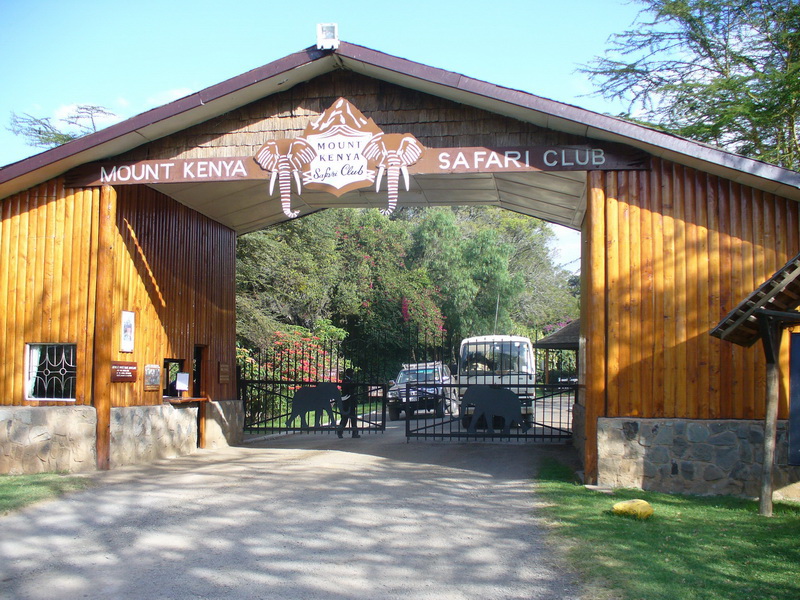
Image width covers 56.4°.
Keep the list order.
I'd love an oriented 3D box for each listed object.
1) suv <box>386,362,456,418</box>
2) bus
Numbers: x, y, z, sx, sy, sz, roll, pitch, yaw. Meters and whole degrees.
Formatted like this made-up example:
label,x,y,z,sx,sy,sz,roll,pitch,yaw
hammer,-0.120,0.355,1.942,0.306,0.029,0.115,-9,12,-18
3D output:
label,x,y,z,sx,sy,sz,roll,pitch,yaw
suv,0.564,2.947,25.309,1.681,1.649,3.483,-3,-13,8
bus,3.173,3.273,25.450,2.509,3.336,5.184,-1,-17,5
